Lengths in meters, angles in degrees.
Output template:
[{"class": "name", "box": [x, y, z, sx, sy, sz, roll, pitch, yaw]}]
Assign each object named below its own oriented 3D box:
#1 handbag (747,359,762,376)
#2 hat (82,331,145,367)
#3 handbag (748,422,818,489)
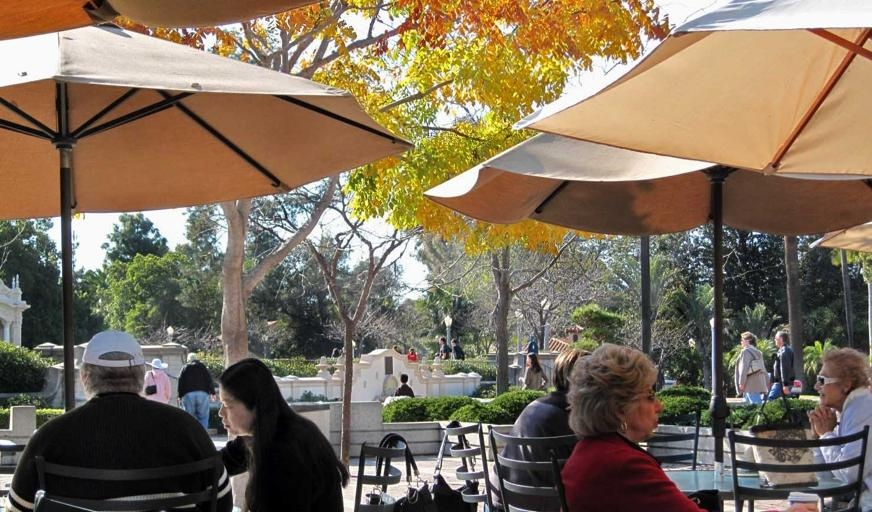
[{"class": "handbag", "box": [5.816, 2.000, 19.479, 0.254, 0.296, 0.283, -1, -4, 19]}, {"class": "hat", "box": [-2.897, 0.818, 9.913, 0.501, 0.344, 0.657, 8, -2, -11]}, {"class": "handbag", "box": [3.538, 2.013, 10.888, 0.656, 0.604, 0.196, 5, -16, -11]}]
